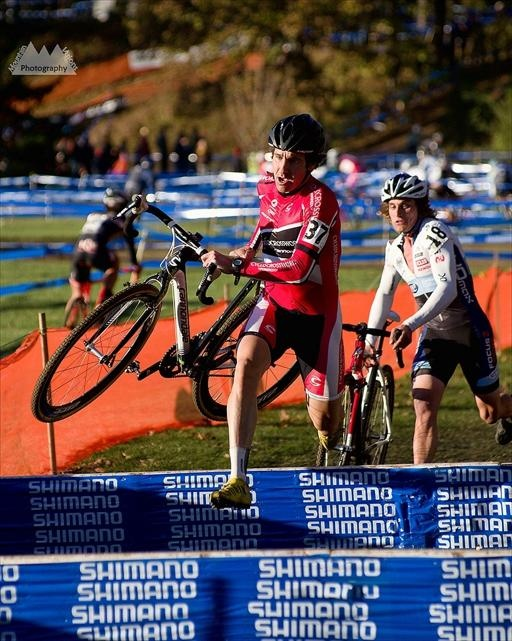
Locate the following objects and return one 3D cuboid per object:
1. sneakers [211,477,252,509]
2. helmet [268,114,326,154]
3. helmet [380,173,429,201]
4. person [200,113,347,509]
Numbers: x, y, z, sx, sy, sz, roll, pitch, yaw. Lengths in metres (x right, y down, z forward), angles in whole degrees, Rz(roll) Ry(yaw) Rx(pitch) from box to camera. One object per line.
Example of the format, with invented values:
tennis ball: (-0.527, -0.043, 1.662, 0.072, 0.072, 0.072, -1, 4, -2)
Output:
sneakers: (-0.116, 0.793, 4.126, 0.146, 0.145, 0.189, 1, 7, 13)
helmet: (0.208, -0.960, 4.746, 0.222, 0.134, 0.287, 7, 5, 22)
helmet: (0.827, -0.747, 5.193, 0.166, 0.095, 0.224, -2, 0, 31)
person: (0.095, -0.077, 4.711, 0.613, 1.963, 1.235, 1, 8, 14)
